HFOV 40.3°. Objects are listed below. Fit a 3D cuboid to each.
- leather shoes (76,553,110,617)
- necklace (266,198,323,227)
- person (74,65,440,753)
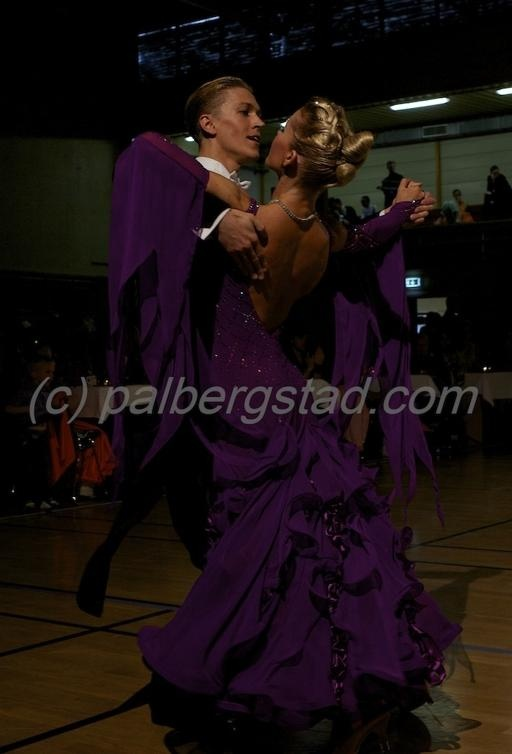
[{"bbox_3d":[-0.321,0.397,1.370,0.070,0.120,0.030,8,1,2],"label":"leather shoes"},{"bbox_3d":[0.071,-0.289,1.244,0.072,0.019,0.057,29,30,17],"label":"necklace"},{"bbox_3d":[0.016,0.041,1.354,0.708,1.276,0.489,0,-6,-14],"label":"person"}]
